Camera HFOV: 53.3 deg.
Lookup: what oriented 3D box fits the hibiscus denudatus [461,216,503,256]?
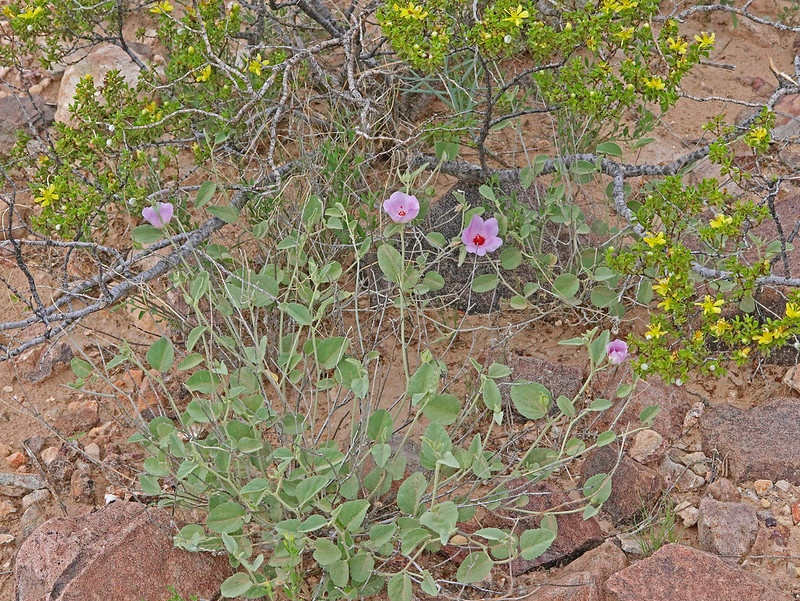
[{"bbox_3d":[0.376,-0.304,3.728,0.176,0.173,0.183,-6,60,1],"label":"hibiscus denudatus"}]

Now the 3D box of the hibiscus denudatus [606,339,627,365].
[{"bbox_3d":[0.901,0.209,3.305,0.090,0.066,0.105,3,76,2],"label":"hibiscus denudatus"}]
